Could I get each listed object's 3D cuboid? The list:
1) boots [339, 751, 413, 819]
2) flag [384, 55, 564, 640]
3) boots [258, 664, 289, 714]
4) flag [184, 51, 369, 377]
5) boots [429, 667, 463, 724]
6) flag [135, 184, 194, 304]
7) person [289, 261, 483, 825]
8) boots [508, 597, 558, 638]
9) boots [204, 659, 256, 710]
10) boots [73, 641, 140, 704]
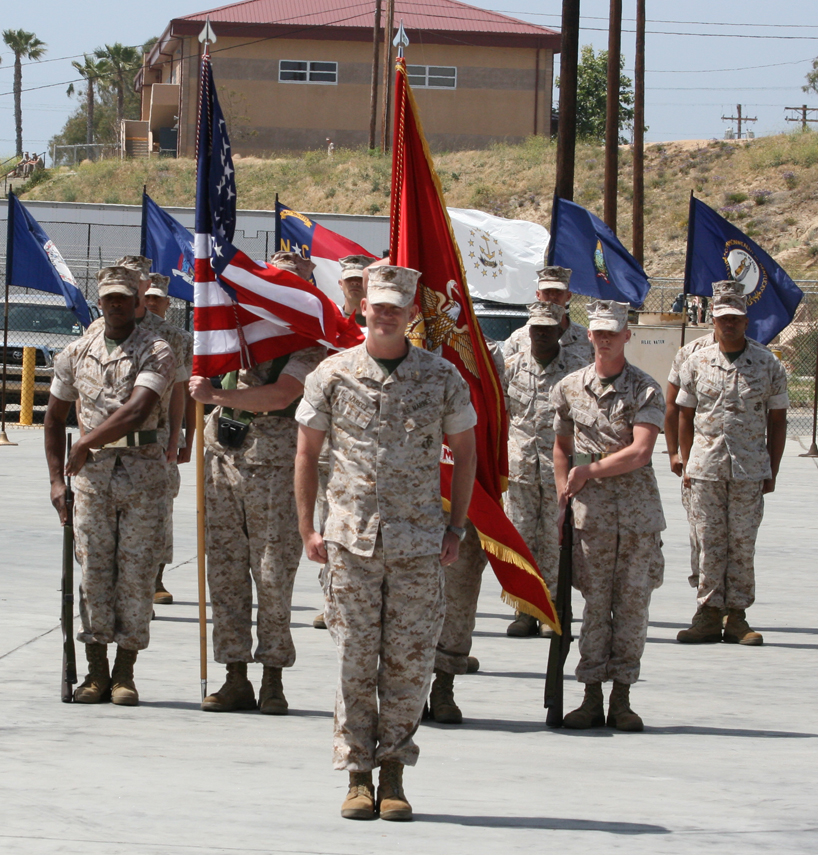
[{"bbox_3d":[-0.151,1.654,11.077,0.326,0.254,0.222,2,8,-1],"label":"boots"},{"bbox_3d":[0.237,-0.487,12.618,0.332,3.162,1.443,-15,19,-18],"label":"flag"},{"bbox_3d":[-0.714,1.369,12.676,0.164,0.247,0.192,2,8,-4],"label":"boots"},{"bbox_3d":[-0.678,-1.107,12.554,1.020,1.700,0.221,5,6,24],"label":"flag"},{"bbox_3d":[0.194,1.401,12.779,0.159,0.344,0.374,2,7,-10],"label":"boots"},{"bbox_3d":[-2.145,-1.502,20.787,0.575,1.400,0.555,2,14,-1],"label":"flag"},{"bbox_3d":[-0.138,0.513,11.114,0.834,2.501,0.607,3,8,0],"label":"person"},{"bbox_3d":[0.734,1.210,15.030,0.435,0.286,0.143,-2,3,-39],"label":"boots"},{"bbox_3d":[-0.924,1.397,12.677,0.343,0.307,0.149,5,-5,-29],"label":"boots"},{"bbox_3d":[-1.593,1.297,12.697,0.293,0.316,0.351,7,-15,-16],"label":"boots"}]
